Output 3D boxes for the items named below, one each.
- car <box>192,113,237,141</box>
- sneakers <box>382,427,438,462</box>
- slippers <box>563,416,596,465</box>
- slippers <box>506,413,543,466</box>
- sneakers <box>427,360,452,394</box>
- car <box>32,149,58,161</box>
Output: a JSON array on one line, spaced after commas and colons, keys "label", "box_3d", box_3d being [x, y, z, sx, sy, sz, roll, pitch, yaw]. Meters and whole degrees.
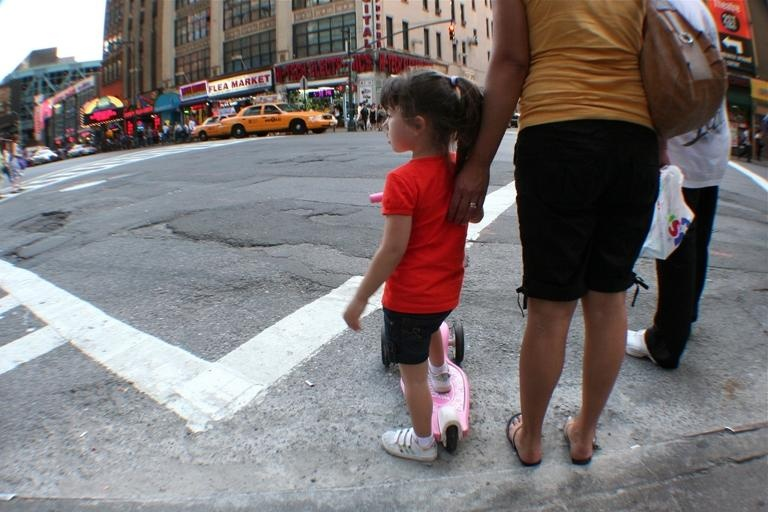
[{"label": "car", "box_3d": [-9.852, -7.330, 28.444, 2.889, 0.948, 1.382, -2, 9, 26]}, {"label": "sneakers", "box_3d": [0.129, 0.980, 2.654, 0.322, 0.138, 0.131, 8, 31, 12]}, {"label": "slippers", "box_3d": [1.032, 0.980, 2.631, 0.100, 0.073, 0.271, -5, 45, 19]}, {"label": "slippers", "box_3d": [0.713, 0.968, 2.608, 0.117, 0.070, 0.259, -14, 39, 14]}, {"label": "sneakers", "box_3d": [0.342, 0.712, 2.933, 0.123, 0.090, 0.226, -14, 24, 3]}, {"label": "car", "box_3d": [-22.891, -6.796, 33.391, 1.161, 0.917, 1.881, -2, 18, -11]}]
